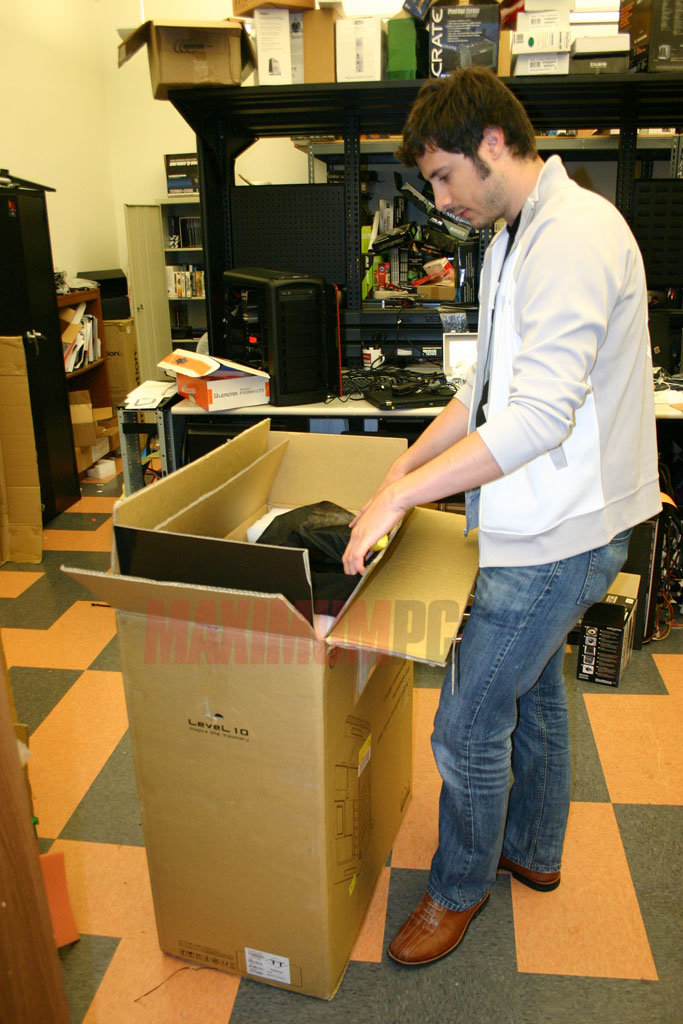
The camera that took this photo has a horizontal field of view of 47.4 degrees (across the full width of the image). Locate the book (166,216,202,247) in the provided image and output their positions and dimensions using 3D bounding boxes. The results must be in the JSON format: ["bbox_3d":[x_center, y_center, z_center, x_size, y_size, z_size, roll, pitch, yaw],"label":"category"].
[{"bbox_3d":[-1.272,-2.262,6.258,0.228,0.265,0.300,-9,19,-17],"label":"book"}]

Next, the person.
[{"bbox_3d":[0.271,0.104,1.236,0.438,1.464,0.510,2,18,16],"label":"person"}]

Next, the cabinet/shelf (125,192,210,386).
[{"bbox_3d":[-1.378,-1.771,6.563,0.711,1.605,0.387,1,29,-8],"label":"cabinet/shelf"}]

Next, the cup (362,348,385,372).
[{"bbox_3d":[0.142,-0.671,3.456,0.071,0.120,0.109,13,3,-23],"label":"cup"}]

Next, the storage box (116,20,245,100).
[{"bbox_3d":[-0.522,-1.586,2.758,0.282,0.133,0.308,-5,36,-2],"label":"storage box"}]

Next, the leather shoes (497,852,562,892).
[{"bbox_3d":[0.380,0.733,1.614,0.139,0.058,0.048,7,14,39],"label":"leather shoes"}]

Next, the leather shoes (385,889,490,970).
[{"bbox_3d":[0.178,0.742,1.456,0.200,0.096,0.073,-31,38,-28],"label":"leather shoes"}]

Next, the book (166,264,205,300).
[{"bbox_3d":[-1.282,-1.879,6.329,0.338,0.270,0.201,-1,18,5],"label":"book"}]
